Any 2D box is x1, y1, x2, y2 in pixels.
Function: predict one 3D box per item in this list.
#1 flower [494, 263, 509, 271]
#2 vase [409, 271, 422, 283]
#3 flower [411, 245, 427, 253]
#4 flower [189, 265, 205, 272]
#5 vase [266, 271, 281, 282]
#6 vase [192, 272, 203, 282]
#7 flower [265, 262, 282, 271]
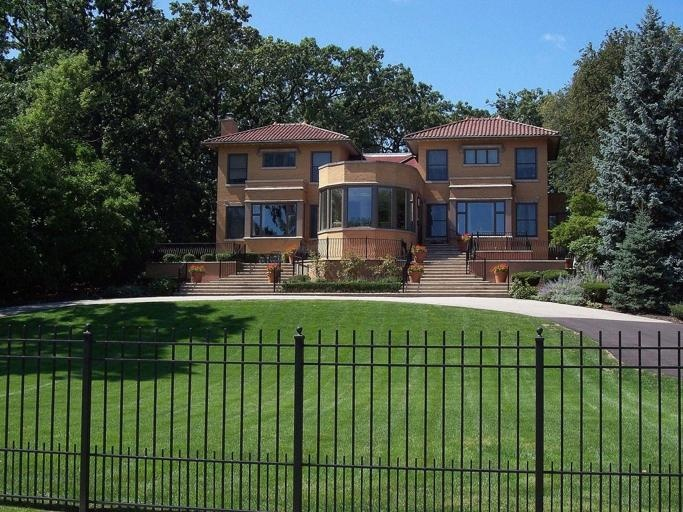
[{"bbox_3d":[7.134,0.486,30.694,0.638,0.318,1.259,-1,-2,14],"label":"flower"},{"bbox_3d":[3.292,0.926,30.624,0.451,0.420,0.457,0,-7,4],"label":"vase"},{"bbox_3d":[3.826,-0.324,33.968,0.627,0.417,0.716,-1,-2,16],"label":"flower"},{"bbox_3d":[-7.205,0.591,34.143,0.728,0.392,1.424,0,-2,-13],"label":"flower"},{"bbox_3d":[-3.179,0.951,31.571,0.485,0.464,0.563,-1,-2,22],"label":"vase"},{"bbox_3d":[-7.121,1.032,33.553,0.406,0.364,0.438,-1,-2,31],"label":"vase"},{"bbox_3d":[-3.123,0.446,31.751,0.500,0.451,0.554,1,-6,-7],"label":"flower"}]
